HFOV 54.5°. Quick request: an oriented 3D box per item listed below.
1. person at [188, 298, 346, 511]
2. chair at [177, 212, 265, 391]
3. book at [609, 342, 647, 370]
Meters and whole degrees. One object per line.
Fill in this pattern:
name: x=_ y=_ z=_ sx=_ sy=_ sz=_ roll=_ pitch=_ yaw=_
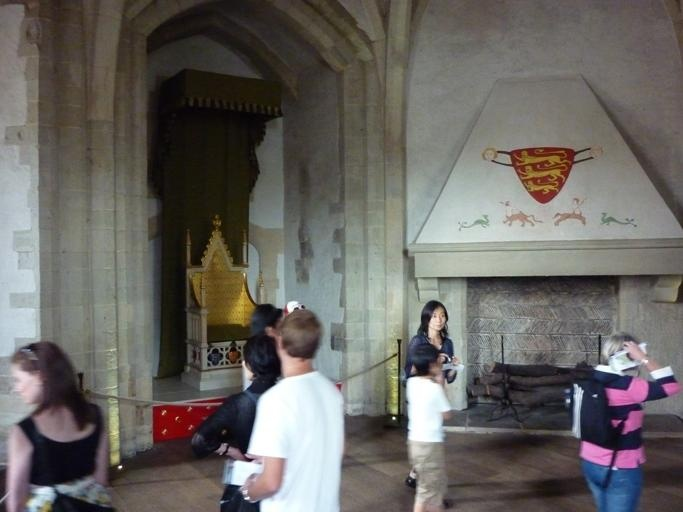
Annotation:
person: x=-0.457 y=0.844 z=3.682 sx=0.702 sy=1.094 sz=0.861 roll=4 pitch=-6 yaw=-25
chair: x=-1.493 y=0.606 z=8.558 sx=0.940 sy=2.022 sz=0.681 roll=0 pitch=0 yaw=-29
book: x=1.890 y=0.668 z=4.380 sx=0.199 sy=0.126 sz=0.155 roll=-9 pitch=-5 yaw=33
